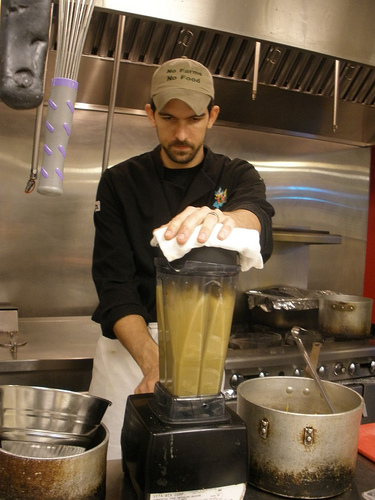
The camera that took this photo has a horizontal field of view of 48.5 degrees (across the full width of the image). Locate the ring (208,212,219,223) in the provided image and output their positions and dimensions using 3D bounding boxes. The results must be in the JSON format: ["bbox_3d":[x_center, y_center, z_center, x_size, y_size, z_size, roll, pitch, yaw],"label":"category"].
[{"bbox_3d":[0.041,-0.050,0.638,0.016,0.011,0.027,7,3,13],"label":"ring"}]

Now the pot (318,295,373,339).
[{"bbox_3d":[0.763,0.302,2.069,0.223,0.214,0.245,2,7,0],"label":"pot"}]
